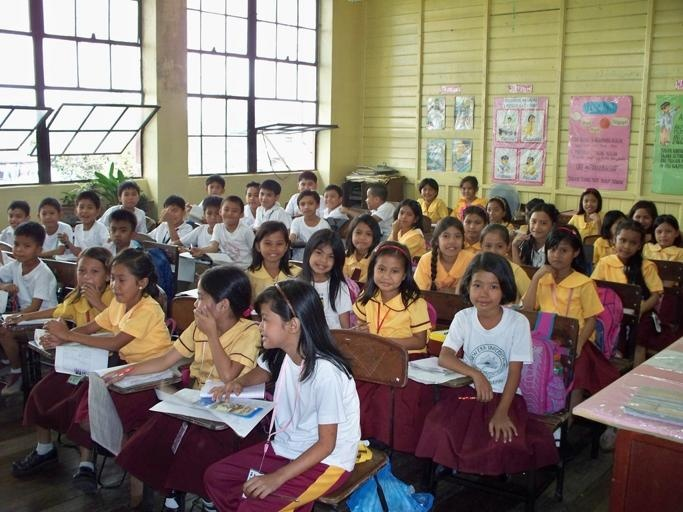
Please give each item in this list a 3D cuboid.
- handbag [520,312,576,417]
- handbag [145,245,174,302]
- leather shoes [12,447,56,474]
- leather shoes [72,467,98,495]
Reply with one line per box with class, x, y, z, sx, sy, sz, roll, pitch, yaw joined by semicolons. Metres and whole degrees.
handbag;0.944;0.500;2.408;0.235;0.427;0.231;3;11;24
handbag;-1.171;0.123;3.351;0.139;0.359;0.275;-3;8;11
leather shoes;-1.550;1.044;2.621;0.182;0.080;0.093;-4;11;-38
leather shoes;-1.198;1.053;2.421;0.079;0.151;0.061;-1;39;-12
